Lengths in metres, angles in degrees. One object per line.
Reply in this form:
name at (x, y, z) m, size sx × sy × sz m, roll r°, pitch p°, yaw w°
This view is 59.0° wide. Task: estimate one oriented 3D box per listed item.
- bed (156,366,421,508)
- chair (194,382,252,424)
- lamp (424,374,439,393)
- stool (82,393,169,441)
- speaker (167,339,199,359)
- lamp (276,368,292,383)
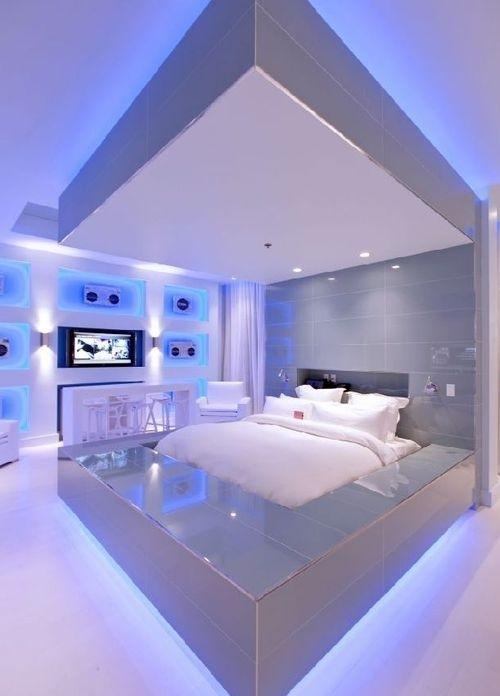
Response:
bed at (0.283, 0.532, 3.187) m, size 1.508 × 0.335 × 1.776 m, roll 4°, pitch 6°, yaw 41°
chair at (-0.312, 0.599, 5.370) m, size 0.544 × 0.545 × 0.409 m, roll -2°, pitch -9°, yaw 8°
lamp at (1.305, 0.233, 3.205) m, size 0.088 × 0.131 × 0.091 m, roll -4°, pitch 5°, yaw -2°
stool at (-1.090, 0.598, 4.207) m, size 0.150 × 0.414 × 1.030 m, roll 4°, pitch 5°, yaw 39°
speaker at (-0.956, -0.008, 6.468) m, size 0.132 × 0.274 × 0.552 m, roll 3°, pitch 5°, yaw 35°
lamp at (0.356, 0.234, 4.620) m, size 0.095 × 0.147 × 0.137 m, roll 5°, pitch -10°, yaw -33°
